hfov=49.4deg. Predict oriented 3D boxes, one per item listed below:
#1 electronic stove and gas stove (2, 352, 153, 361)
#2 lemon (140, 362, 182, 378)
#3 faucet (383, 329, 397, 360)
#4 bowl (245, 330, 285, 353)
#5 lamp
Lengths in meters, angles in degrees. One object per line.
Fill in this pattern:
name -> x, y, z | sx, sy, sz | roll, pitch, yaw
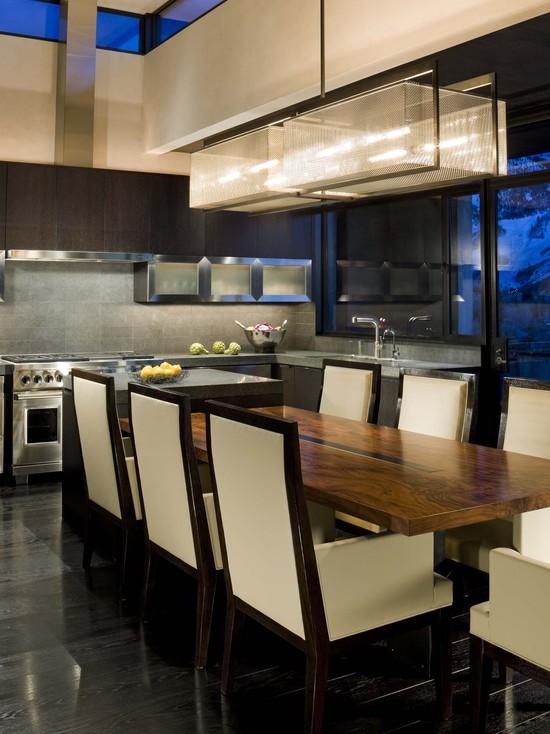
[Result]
electronic stove and gas stove -> -1.746, -0.103, 5.218 | 1.220, 0.092, 0.734 | 0, 1, -37
lemon -> -0.667, 0.021, 3.416 | 0.149, 0.063, 0.131 | -2, 0, 35
faucet -> 1.031, -0.207, 5.329 | 0.135, 0.259, 0.424 | 0, 0, 10
bowl -> -0.116, -0.276, 6.267 | 0.267, 0.164, 0.274 | 0, -4, 0
lamp -> 0.328, -1.070, 2.897 | 0.429, 0.459, 1.498 | 3, -3, -41
